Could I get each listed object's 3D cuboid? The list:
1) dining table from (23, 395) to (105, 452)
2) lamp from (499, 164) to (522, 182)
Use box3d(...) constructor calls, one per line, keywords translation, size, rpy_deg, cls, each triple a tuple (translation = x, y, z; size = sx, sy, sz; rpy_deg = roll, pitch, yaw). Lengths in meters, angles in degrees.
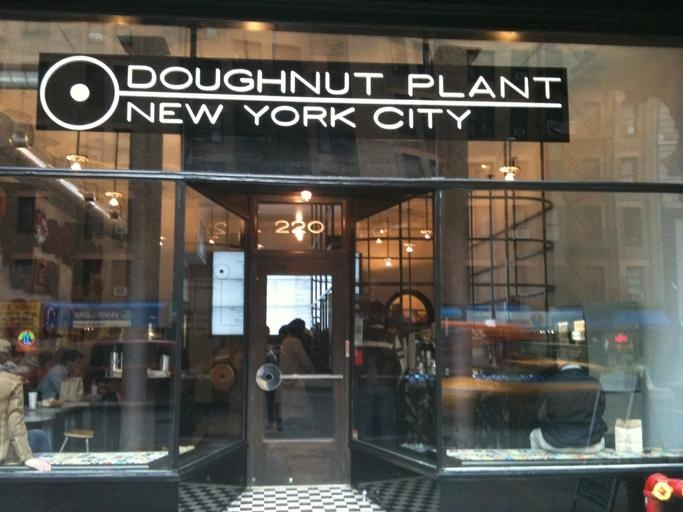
box3d(translation=(-2.654, 1.613, 7.434), size=(0.610, 0.429, 0.606), rpy_deg=(1, -7, -22), cls="dining table")
box3d(translation=(1.594, -0.769, 7.390), size=(0.165, 0.155, 0.035), rpy_deg=(2, -4, 3), cls="lamp")
